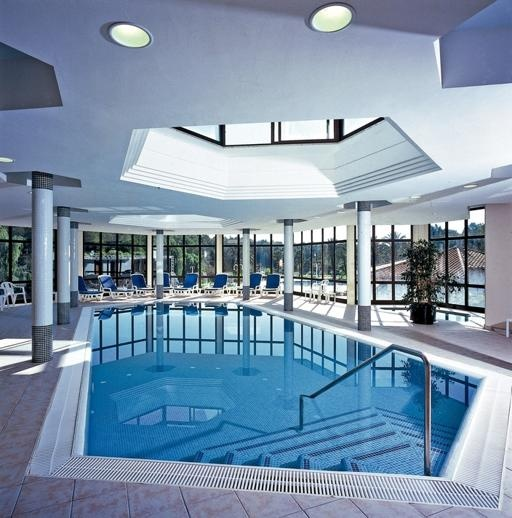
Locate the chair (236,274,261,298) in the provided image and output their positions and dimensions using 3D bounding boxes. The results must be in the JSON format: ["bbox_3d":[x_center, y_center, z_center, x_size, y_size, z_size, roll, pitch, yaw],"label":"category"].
[{"bbox_3d":[-0.504,1.182,20.114,0.903,1.505,1.128,-1,-6,12],"label":"chair"}]

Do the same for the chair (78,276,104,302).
[{"bbox_3d":[-6.620,1.214,16.272,0.841,0.830,1.453,0,0,-44],"label":"chair"}]

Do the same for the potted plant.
[{"bbox_3d":[4.686,0.598,11.334,1.262,2.209,1.410,0,2,28],"label":"potted plant"}]

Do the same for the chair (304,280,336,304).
[{"bbox_3d":[2.912,1.364,17.699,1.233,1.441,0.864,2,-3,-18],"label":"chair"}]

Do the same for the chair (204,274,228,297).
[{"bbox_3d":[-1.903,1.204,19.628,0.971,0.917,1.239,-1,2,-7],"label":"chair"}]

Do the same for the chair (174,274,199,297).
[{"bbox_3d":[-3.411,1.237,20.081,0.821,0.843,1.223,0,-1,21],"label":"chair"}]

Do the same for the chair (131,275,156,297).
[{"bbox_3d":[-5.362,1.196,19.319,0.771,0.922,1.249,0,-2,-38],"label":"chair"}]

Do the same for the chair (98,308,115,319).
[{"bbox_3d":[-4.588,1.690,12.605,0.281,0.359,0.282,0,-13,17],"label":"chair"}]

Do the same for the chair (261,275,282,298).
[{"bbox_3d":[0.646,1.205,19.424,0.834,0.886,1.080,-1,-4,13],"label":"chair"}]
